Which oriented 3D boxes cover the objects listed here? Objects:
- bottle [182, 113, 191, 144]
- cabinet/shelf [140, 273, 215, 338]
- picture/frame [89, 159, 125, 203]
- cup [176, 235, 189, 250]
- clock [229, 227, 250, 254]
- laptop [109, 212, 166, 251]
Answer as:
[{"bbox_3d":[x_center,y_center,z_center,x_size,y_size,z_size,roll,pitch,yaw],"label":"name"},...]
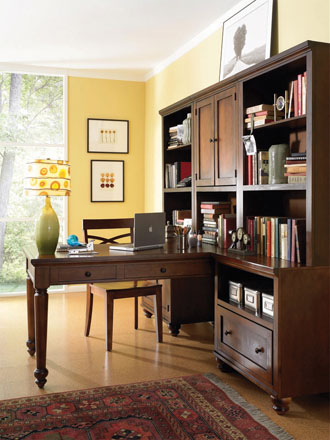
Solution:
[{"bbox_3d":[0.179,-0.752,3.183,0.031,0.252,0.166,0,-1,-21],"label":"bottle"},{"bbox_3d":[0.095,0.638,3.279,0.386,0.730,0.696,0,0,-25],"label":"cabinet/shelf"},{"bbox_3d":[-0.763,-0.501,4.823,0.492,0.741,0.024,1,-3,-27],"label":"picture/frame"},{"bbox_3d":[0.110,0.148,2.552,0.079,0.104,0.085,0,0,0],"label":"cup"},{"bbox_3d":[0.437,0.122,2.211,0.042,0.107,0.140,2,-2,-21],"label":"clock"},{"bbox_3d":[-0.164,0.055,2.419,0.223,0.296,0.328,5,6,32],"label":"laptop"}]
